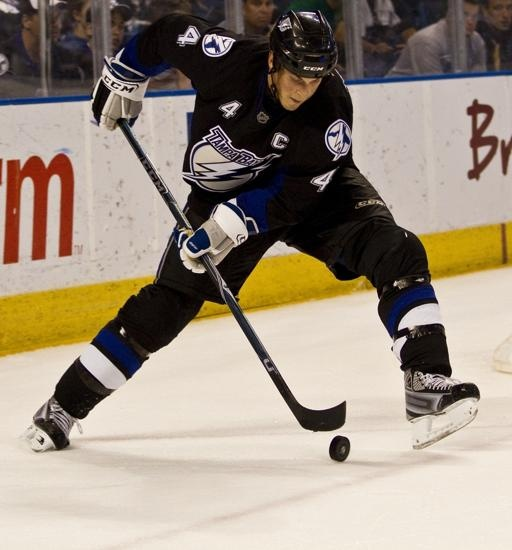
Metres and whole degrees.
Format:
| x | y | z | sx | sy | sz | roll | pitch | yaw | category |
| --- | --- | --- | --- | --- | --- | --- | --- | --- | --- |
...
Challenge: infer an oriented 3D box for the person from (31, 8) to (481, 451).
| x | y | z | sx | sy | sz | roll | pitch | yaw | category |
| --- | --- | --- | --- | --- | --- | --- | --- | --- | --- |
| -0.029 | -0.130 | 2.022 | 1.148 | 1.155 | 0.608 | -3 | 11 | 12 | person |

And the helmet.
| x | y | z | sx | sy | sz | roll | pitch | yaw | category |
| --- | --- | --- | --- | --- | --- | --- | --- | --- | --- |
| 0.110 | -0.546 | 1.793 | 0.152 | 0.171 | 0.146 | -5 | 10 | 3 | helmet |

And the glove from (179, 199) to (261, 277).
| x | y | z | sx | sy | sz | roll | pitch | yaw | category |
| --- | --- | --- | --- | --- | --- | --- | --- | --- | --- |
| -0.104 | -0.095 | 1.963 | 0.234 | 0.120 | 0.101 | -35 | -23 | 19 | glove |

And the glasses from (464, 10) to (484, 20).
| x | y | z | sx | sy | sz | roll | pitch | yaw | category |
| --- | --- | --- | --- | --- | --- | --- | --- | --- | --- |
| 1.249 | -1.490 | 4.328 | 0.082 | 0.058 | 0.068 | 0 | 1 | -2 | glasses |

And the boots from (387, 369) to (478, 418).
| x | y | z | sx | sy | sz | roll | pitch | yaw | category |
| --- | --- | --- | --- | --- | --- | --- | --- | --- | --- |
| 0.432 | 0.293 | 1.796 | 0.092 | 0.122 | 0.192 | -10 | 10 | -26 | boots |
